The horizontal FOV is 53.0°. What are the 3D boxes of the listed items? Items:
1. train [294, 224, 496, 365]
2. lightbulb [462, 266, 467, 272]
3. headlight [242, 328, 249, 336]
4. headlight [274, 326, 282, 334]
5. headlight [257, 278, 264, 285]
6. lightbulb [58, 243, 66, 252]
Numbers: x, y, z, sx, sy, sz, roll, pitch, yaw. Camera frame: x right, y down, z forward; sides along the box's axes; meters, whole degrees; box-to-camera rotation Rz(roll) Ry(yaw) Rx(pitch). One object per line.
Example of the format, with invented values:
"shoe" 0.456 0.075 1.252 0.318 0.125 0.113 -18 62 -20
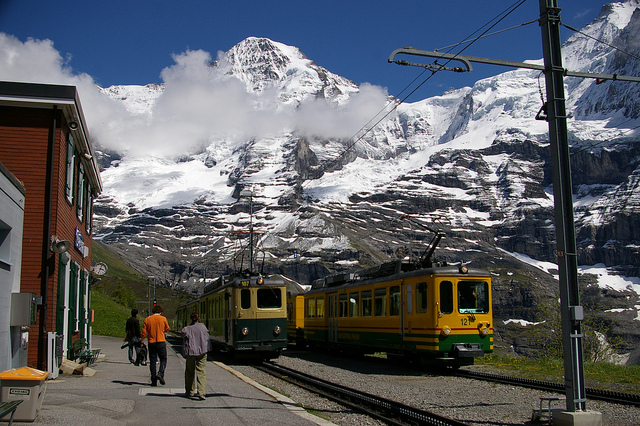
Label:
"train" 3.096 5.650 35.191 3.491 5.319 16.546 4 -15 -22
"lightbulb" 6.345 2.481 28.204 0.280 0.190 0.097 10 -18 -41
"headlight" -3.653 5.764 31.223 0.272 0.273 0.270 -38 -25 -31
"headlight" -2.084 5.778 31.721 0.380 0.337 0.077 6 -16 -29
"headlight" -2.967 3.419 32.017 0.365 0.309 0.114 7 -17 -33
"lightbulb" -9.983 1.355 24.944 0.172 0.310 0.364 -7 -15 19
